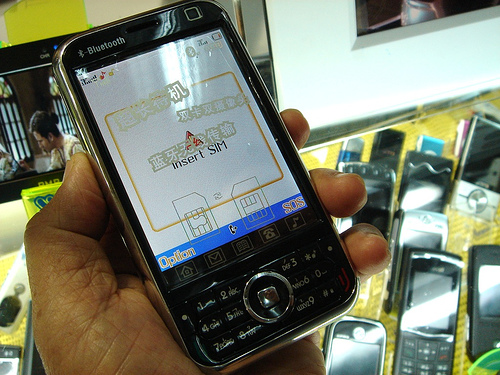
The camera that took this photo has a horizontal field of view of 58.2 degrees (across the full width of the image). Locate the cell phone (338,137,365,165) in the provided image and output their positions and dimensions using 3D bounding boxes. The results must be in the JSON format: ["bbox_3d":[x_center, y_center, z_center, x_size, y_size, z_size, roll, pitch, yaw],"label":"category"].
[{"bbox_3d":[0.216,-0.066,0.973,0.049,0.011,0.099,5,51,21],"label":"cell phone"}]
